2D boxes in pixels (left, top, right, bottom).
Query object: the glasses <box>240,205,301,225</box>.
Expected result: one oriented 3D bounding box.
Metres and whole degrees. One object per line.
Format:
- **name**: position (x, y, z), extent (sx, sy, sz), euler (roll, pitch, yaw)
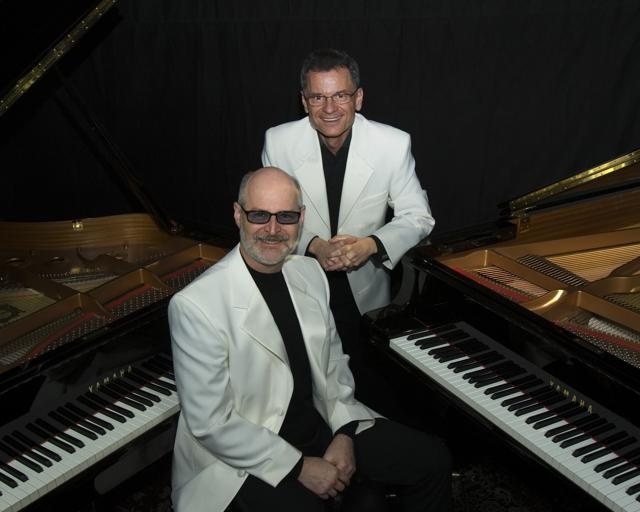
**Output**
- **glasses**: position (-0.183, -0.146, 1.742), extent (0.205, 0.060, 0.063), euler (-3, 18, -8)
